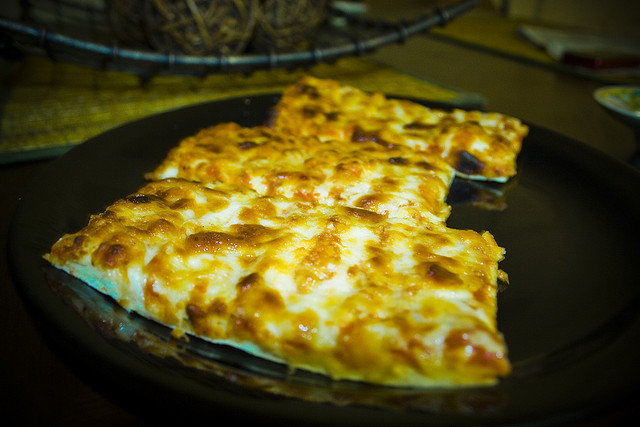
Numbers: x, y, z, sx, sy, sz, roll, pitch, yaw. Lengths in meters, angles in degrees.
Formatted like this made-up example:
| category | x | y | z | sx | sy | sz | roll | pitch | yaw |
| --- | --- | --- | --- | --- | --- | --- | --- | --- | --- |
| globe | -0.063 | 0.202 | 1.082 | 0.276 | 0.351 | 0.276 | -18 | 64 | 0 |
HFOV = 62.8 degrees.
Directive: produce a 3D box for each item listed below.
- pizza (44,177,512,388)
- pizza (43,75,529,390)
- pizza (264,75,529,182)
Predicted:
| category | x | y | z | sx | sy | sz | roll | pitch | yaw |
| --- | --- | --- | --- | --- | --- | --- | --- | --- | --- |
| pizza | -0.027 | 0.079 | 0.779 | 0.640 | 0.126 | 0.318 | 14 | 34 | 19 |
| pizza | 0.004 | -0.020 | 0.904 | 0.655 | 0.166 | 0.611 | 10 | 33 | 13 |
| pizza | 0.156 | -0.181 | 1.067 | 0.441 | 0.063 | 0.220 | 12 | 37 | 15 |
